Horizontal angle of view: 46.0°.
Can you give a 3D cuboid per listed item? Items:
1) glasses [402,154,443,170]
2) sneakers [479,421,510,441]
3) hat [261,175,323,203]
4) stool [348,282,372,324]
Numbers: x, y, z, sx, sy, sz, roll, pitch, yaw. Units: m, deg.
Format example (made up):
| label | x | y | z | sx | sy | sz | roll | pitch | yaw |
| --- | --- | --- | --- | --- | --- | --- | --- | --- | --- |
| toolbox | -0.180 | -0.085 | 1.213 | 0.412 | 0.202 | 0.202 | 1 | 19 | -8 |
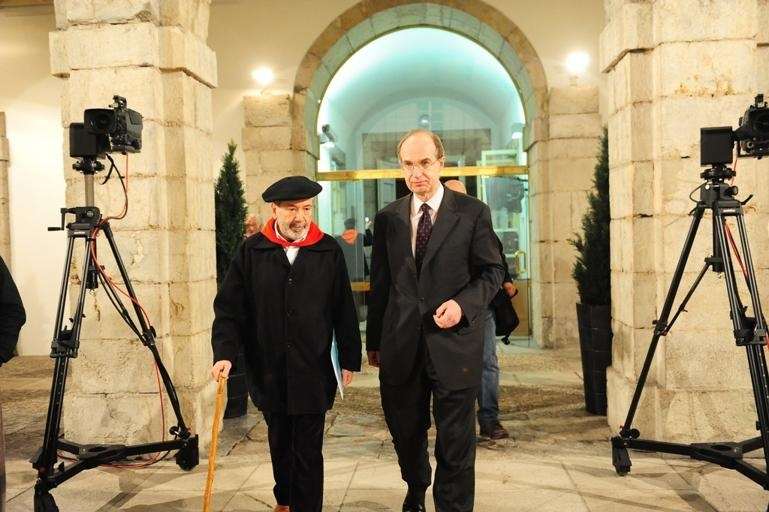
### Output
| label | x | y | z | sx | sy | sz | roll | pitch | yaw |
| --- | --- | --- | --- | --- | --- | --- | --- | --- | --- |
| glasses | 0.318 | -0.777 | 7.484 | 0.355 | 0.091 | 0.169 | -1 | 7 | -5 |
| sneakers | 1.101 | 1.725 | 8.980 | 0.266 | 0.118 | 0.146 | -9 | -8 | 39 |
| hat | -0.793 | -0.544 | 7.474 | 0.302 | 0.101 | 0.294 | -8 | 1 | -36 |
| stool | -0.379 | 0.619 | 13.531 | 0.326 | 0.538 | 0.329 | 3 | -3 | 9 |
